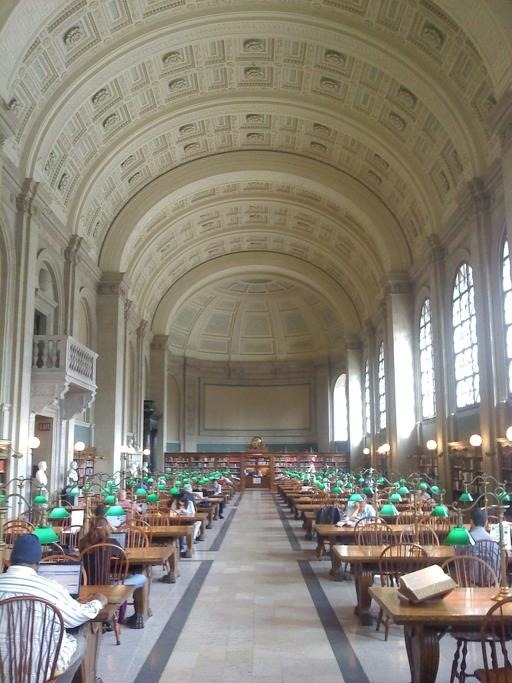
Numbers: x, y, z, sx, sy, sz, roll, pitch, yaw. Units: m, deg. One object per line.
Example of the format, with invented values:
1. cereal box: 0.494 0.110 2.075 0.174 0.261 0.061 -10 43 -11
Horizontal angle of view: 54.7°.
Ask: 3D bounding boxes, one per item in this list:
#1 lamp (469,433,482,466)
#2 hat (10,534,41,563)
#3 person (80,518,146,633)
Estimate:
1. lamp: 5.328 2.580 11.956 0.280 0.767 1.941 -7 -14 22
2. hat: -1.135 1.000 2.400 0.112 0.141 0.158 3 7 -6
3. person: -1.385 2.484 5.105 0.512 0.787 0.454 -6 -18 -10
